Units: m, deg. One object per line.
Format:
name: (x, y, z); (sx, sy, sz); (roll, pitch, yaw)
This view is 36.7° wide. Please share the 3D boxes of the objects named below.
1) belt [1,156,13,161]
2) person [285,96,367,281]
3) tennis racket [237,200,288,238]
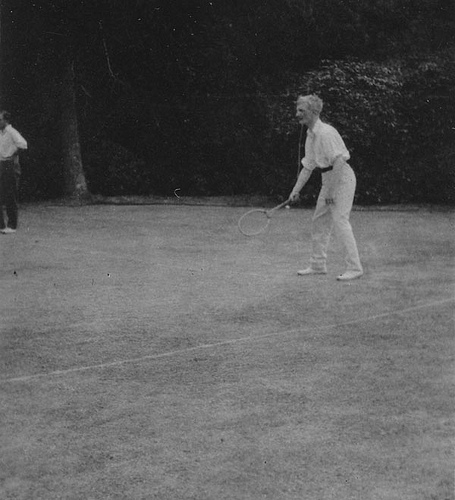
belt: (-1.649, -0.690, 5.127); (0.082, 0.023, 0.135); (-6, 17, -19)
person: (0.793, -0.489, 5.303); (0.576, 1.436, 1.223); (2, 13, 12)
tennis racket: (0.285, -0.296, 5.977); (0.550, 0.032, 0.225); (-36, 71, -24)
